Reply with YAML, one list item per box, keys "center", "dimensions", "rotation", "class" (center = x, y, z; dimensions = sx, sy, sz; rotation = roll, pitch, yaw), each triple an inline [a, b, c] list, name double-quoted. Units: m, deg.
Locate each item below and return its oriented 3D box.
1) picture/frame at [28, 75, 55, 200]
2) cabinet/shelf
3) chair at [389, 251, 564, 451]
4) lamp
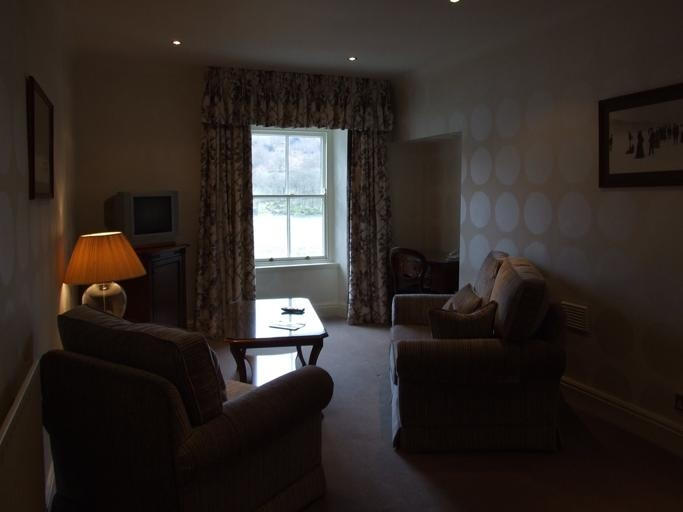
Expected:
- center: [-1.685, -0.656, 2.907]
  dimensions: [0.047, 0.559, 0.732]
  rotation: [0, 8, -18]
  class: "picture/frame"
- center: [-1.608, 0.257, 4.410]
  dimensions: [0.329, 1.049, 0.652]
  rotation: [2, 7, 5]
  class: "cabinet/shelf"
- center: [0.899, 0.709, 3.763]
  dimensions: [0.983, 1.232, 1.586]
  rotation: [0, 1, 4]
  class: "chair"
- center: [-1.593, 0.086, 3.713]
  dimensions: [0.534, 0.744, 0.578]
  rotation: [-2, 0, -5]
  class: "lamp"
